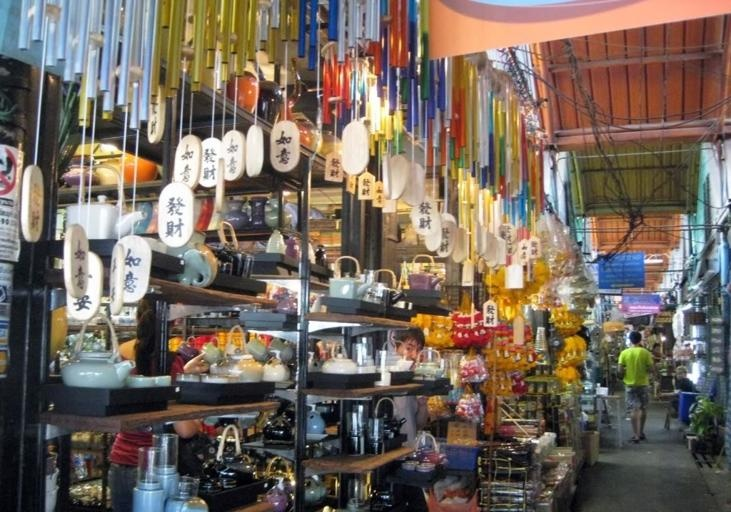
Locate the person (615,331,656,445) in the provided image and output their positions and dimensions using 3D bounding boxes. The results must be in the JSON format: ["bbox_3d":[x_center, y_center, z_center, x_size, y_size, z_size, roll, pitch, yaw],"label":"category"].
[{"bbox_3d":[3.827,1.834,10.796,0.434,1.526,1.029,-1,-4,19],"label":"person"}]

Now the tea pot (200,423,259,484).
[{"bbox_3d":[-0.693,0.992,3.732,0.280,0.299,0.310,-4,-24,6],"label":"tea pot"}]

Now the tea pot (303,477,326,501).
[{"bbox_3d":[-0.287,1.352,4.429,0.138,0.137,0.082,2,-4,-19],"label":"tea pot"}]

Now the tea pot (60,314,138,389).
[{"bbox_3d":[-1.044,0.418,3.149,0.316,0.289,0.225,3,-17,-3],"label":"tea pot"}]

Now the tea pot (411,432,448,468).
[{"bbox_3d":[0.434,1.314,5.142,0.164,0.230,0.273,-2,-22,6],"label":"tea pot"}]

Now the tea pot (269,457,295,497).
[{"bbox_3d":[-0.469,1.245,4.300,0.184,0.276,0.184,-2,-21,-1],"label":"tea pot"}]

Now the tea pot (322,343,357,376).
[{"bbox_3d":[-0.144,0.585,4.279,0.149,0.127,0.153,0,-8,0],"label":"tea pot"}]

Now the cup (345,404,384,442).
[{"bbox_3d":[-0.003,0.978,4.536,0.229,0.204,0.220,0,-4,0],"label":"cup"}]
